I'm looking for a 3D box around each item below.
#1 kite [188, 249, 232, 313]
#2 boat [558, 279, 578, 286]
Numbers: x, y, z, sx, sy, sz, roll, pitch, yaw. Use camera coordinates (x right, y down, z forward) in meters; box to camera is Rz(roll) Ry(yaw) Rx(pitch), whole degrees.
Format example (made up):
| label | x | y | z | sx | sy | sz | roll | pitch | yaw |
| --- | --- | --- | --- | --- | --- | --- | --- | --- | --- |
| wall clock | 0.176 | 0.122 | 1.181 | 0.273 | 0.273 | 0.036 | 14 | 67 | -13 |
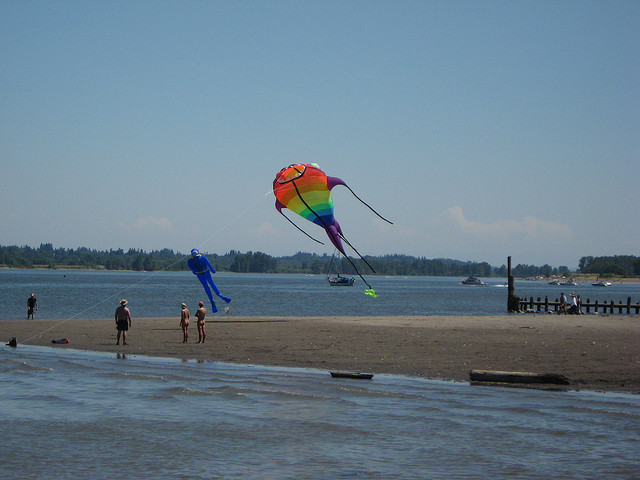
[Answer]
| label | x | y | z | sx | sy | sz | roll | pitch | yaw |
| --- | --- | --- | --- | --- | --- | --- | --- | --- | --- |
| kite | -6.415 | 2.221 | 44.862 | 1.518 | 3.120 | 4.281 | 1 | -1 | -8 |
| boat | 82.348 | 14.310 | 273.439 | 3.193 | 2.005 | 5.737 | 1 | -1 | 30 |
